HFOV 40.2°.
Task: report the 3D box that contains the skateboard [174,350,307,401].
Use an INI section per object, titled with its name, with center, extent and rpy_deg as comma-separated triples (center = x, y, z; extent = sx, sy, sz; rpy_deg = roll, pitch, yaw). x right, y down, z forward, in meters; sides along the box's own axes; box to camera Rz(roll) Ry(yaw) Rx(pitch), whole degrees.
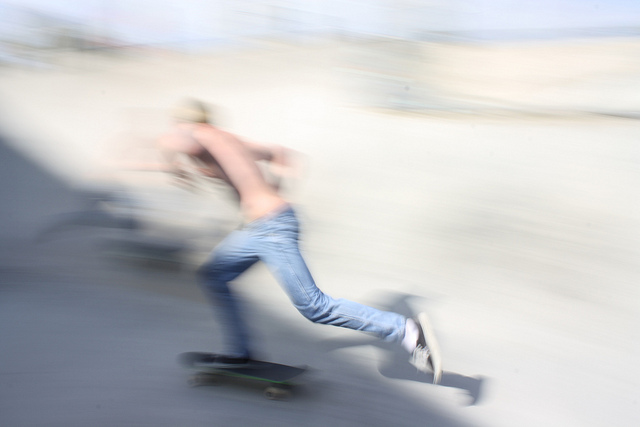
[skateboard]
center = -0.737, 1.385, 7.900
extent = 1.591, 0.227, 0.392
rpy_deg = 9, 12, 3

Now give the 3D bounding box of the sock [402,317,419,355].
[sock]
center = 0.801, 1.078, 7.662
extent = 0.144, 0.272, 0.110
rpy_deg = -11, 16, -38
